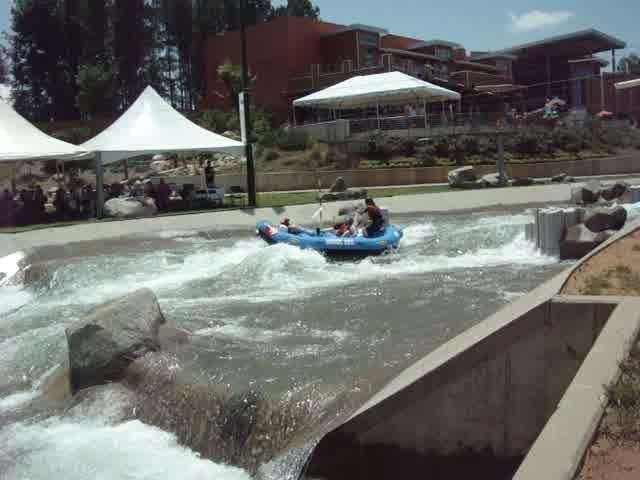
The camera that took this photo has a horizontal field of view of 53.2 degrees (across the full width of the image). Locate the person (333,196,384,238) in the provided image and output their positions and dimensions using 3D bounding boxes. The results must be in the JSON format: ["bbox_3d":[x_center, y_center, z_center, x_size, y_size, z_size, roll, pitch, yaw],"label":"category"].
[{"bbox_3d":[1.116,-0.368,17.332,1.309,0.579,1.136,-3,55,21],"label":"person"}]

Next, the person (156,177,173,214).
[{"bbox_3d":[-5.479,-1.586,22.323,0.511,1.085,1.350,-5,9,-10],"label":"person"}]

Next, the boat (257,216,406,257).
[{"bbox_3d":[-0.044,-0.041,17.195,4.236,0.790,1.838,-2,9,19],"label":"boat"}]
